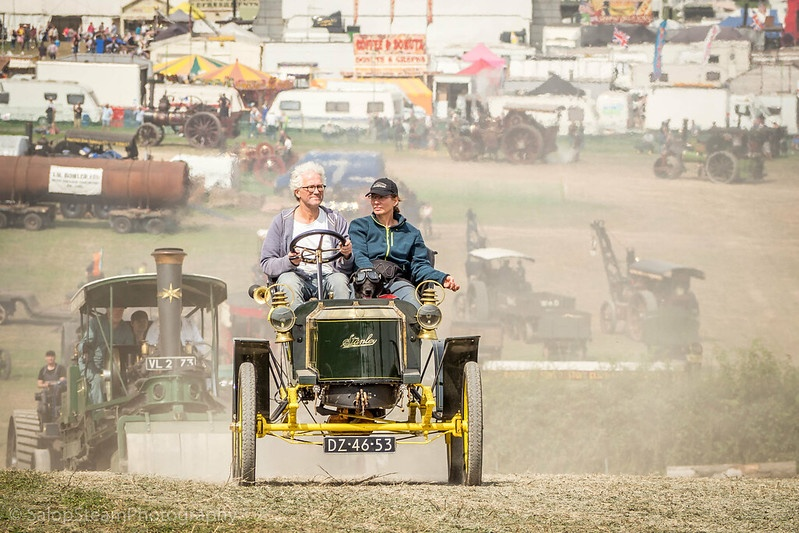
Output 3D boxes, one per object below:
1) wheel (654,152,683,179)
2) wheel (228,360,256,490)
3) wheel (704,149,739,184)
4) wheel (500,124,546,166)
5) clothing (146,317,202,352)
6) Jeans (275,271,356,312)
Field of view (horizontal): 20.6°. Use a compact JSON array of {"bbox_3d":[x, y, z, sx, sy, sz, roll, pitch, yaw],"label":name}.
[{"bbox_3d":[11.195,-4.239,94.203,0.935,1.022,0.395,2,12,25],"label":"wheel"},{"bbox_3d":[-5.020,5.192,70.119,0.961,3.724,3.397,2,12,-4],"label":"wheel"},{"bbox_3d":[13.413,-3.950,94.094,1.293,1.375,1.339,20,14,-5],"label":"wheel"},{"bbox_3d":[5.003,-5.116,93.811,1.262,1.333,0.479,18,30,-10],"label":"wheel"},{"bbox_3d":[-7.717,2.462,78.398,1.296,1.053,0.751,2,-2,10],"label":"clothing"},{"bbox_3d":[-2.782,0.724,69.974,1.484,1.522,0.610,3,-31,-19],"label":"Jeans"}]
